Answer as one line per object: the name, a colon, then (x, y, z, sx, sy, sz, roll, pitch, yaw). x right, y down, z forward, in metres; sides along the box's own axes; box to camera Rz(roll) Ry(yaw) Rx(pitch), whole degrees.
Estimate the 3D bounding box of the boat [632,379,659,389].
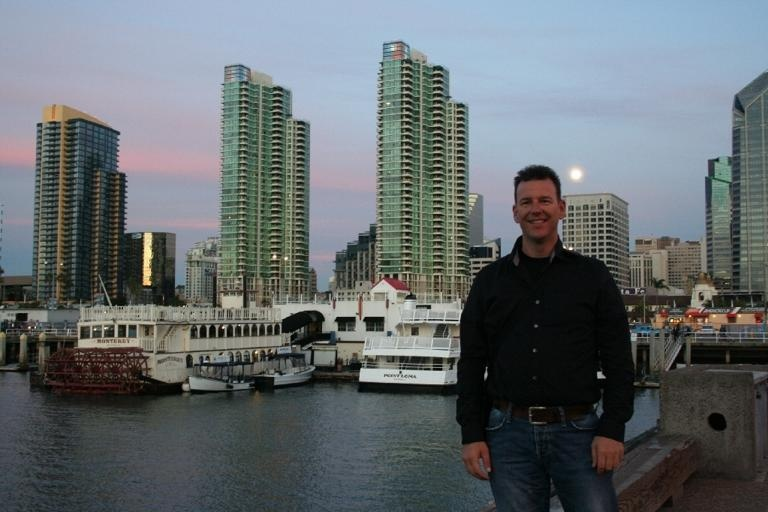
boat: (20.260, 9.794, 67.454, 1.662, 0.467, 3.035, -1, 4, 15)
